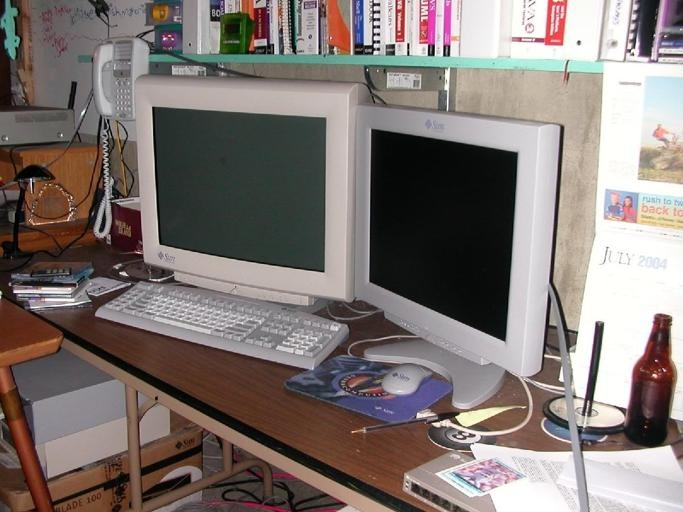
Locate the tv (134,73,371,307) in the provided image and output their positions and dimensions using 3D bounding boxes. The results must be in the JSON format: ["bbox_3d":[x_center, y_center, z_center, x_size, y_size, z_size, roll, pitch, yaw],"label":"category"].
[{"bbox_3d":[-0.132,-0.173,1.763,0.739,0.651,0.563,7,12,29],"label":"tv"}]

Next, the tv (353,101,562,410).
[{"bbox_3d":[0.301,-0.024,1.231,0.149,0.585,0.527,-13,27,-40],"label":"tv"}]

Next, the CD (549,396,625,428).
[{"bbox_3d":[0.485,0.309,1.134,0.150,0.023,0.118,8,19,24],"label":"CD"}]

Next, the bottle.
[{"bbox_3d":[0.588,0.234,1.094,0.092,0.230,0.100,1,20,0],"label":"bottle"}]

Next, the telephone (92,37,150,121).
[{"bbox_3d":[-0.752,-0.592,1.927,0.192,0.262,0.145,4,7,18],"label":"telephone"}]
